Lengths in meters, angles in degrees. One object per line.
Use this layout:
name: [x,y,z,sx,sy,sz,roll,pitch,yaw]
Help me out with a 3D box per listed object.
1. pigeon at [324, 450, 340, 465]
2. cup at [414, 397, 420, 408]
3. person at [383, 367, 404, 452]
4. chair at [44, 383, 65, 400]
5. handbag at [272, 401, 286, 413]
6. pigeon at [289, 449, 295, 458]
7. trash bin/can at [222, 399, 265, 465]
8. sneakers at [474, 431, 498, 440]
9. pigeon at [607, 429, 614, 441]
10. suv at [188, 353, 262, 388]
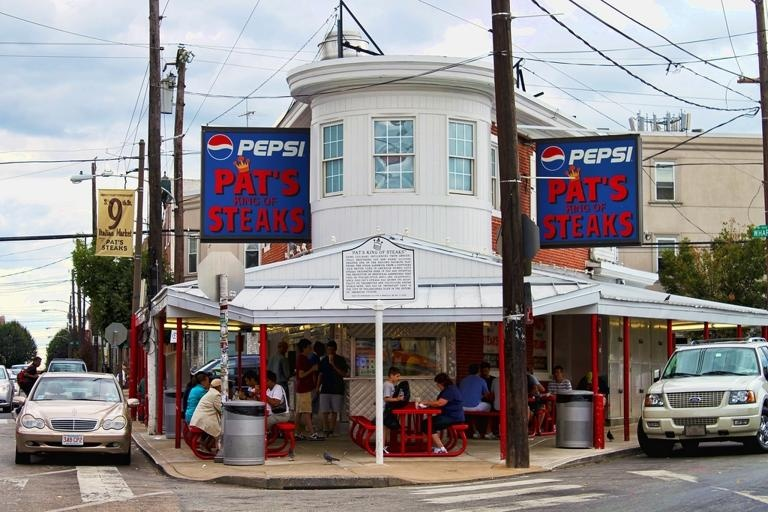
pigeon: [-1.362,4.858,26.152,0.534,0.353,0.216,-11,-12,38]
cup: [0.849,3.650,27.040,0.132,0.237,0.354,-2,-4,3]
person: [0.242,3.590,27.436,0.513,1.539,0.803,-2,-3,0]
chair: [-8.218,3.392,27.311,0.354,0.394,0.466,6,19,5]
handbag: [-2.704,3.942,28.213,0.249,0.252,0.811,-3,-4,13]
pigeon: [-2.316,4.984,27.385,0.165,0.309,0.166,1,-7,-8]
trash bin/can: [-3.338,4.268,26.304,1.369,1.990,1.332,1,-6,-7]
sneakers: [2.958,5.218,31.546,0.661,0.282,0.241,1,-3,-5]
pigeon: [6.207,4.996,29.821,0.174,0.224,0.573,-4,-37,10]
suv: [-5.626,3.915,38.599,2.479,1.357,1.534,0,-7,-2]
